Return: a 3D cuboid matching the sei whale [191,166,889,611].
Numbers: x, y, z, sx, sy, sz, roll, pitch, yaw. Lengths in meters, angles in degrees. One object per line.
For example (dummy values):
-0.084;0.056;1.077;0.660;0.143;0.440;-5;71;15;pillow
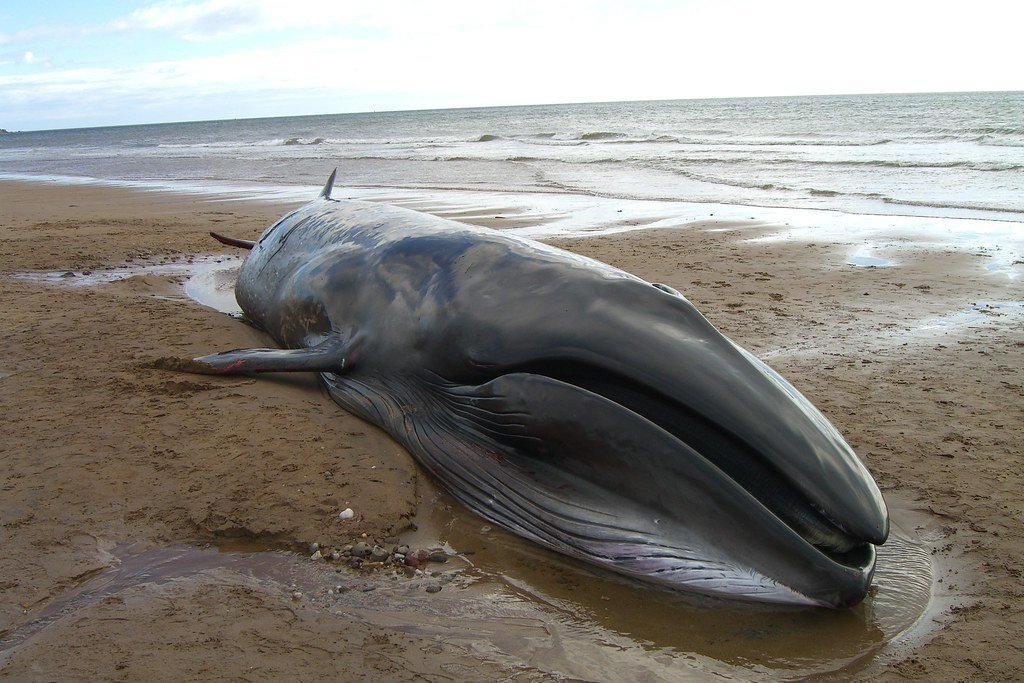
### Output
0.083;0.267;7.065;5.538;1.094;3.333;15;19;43;sei whale
